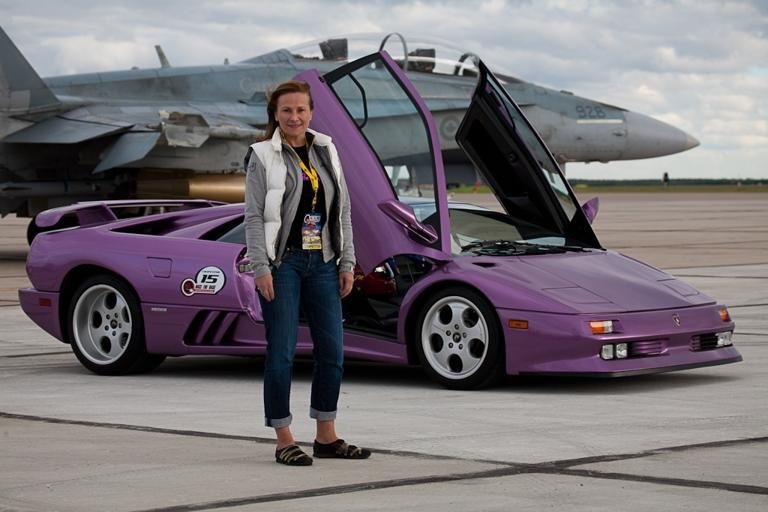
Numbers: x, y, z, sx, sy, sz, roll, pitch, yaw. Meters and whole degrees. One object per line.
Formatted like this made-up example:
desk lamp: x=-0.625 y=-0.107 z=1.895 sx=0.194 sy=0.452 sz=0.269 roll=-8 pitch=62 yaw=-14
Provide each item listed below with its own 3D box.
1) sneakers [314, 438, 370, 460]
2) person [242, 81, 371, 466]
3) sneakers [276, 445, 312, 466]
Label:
sneakers: x=-0.258 y=1.150 z=4.157 sx=0.271 sy=0.082 sz=0.139 roll=-2 pitch=-3 yaw=8
person: x=-0.477 y=0.082 z=4.149 sx=0.644 sy=2.261 sz=0.644 roll=-5 pitch=9 yaw=-9
sneakers: x=-0.522 y=1.165 z=4.024 sx=0.192 sy=0.065 sz=0.105 roll=-5 pitch=-6 yaw=39
